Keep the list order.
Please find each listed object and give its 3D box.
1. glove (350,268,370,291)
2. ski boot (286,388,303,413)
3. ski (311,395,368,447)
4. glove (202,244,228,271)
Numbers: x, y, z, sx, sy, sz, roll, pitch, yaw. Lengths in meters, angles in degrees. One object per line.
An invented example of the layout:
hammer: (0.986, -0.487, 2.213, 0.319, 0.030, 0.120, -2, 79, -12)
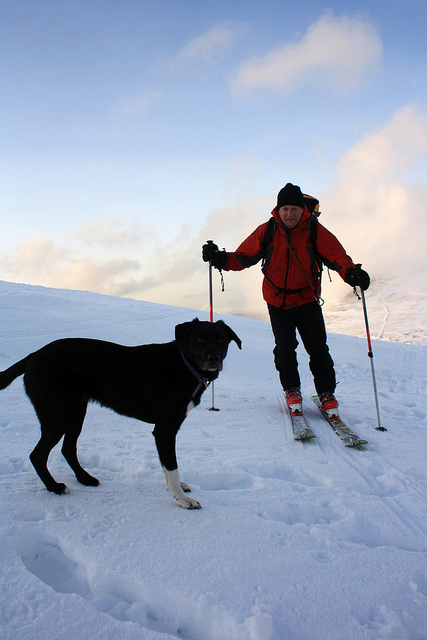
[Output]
glove: (1.285, -0.363, 4.152, 0.188, 0.247, 0.099, 6, 15, 42)
ski boot: (0.760, 0.765, 4.490, 0.089, 0.115, 0.253, -1, -13, -2)
ski: (1.157, 0.946, 4.389, 0.113, 0.069, 0.870, -7, 13, -5)
glove: (0.024, -0.630, 4.717, 0.282, 0.229, 0.095, 3, 3, 34)
